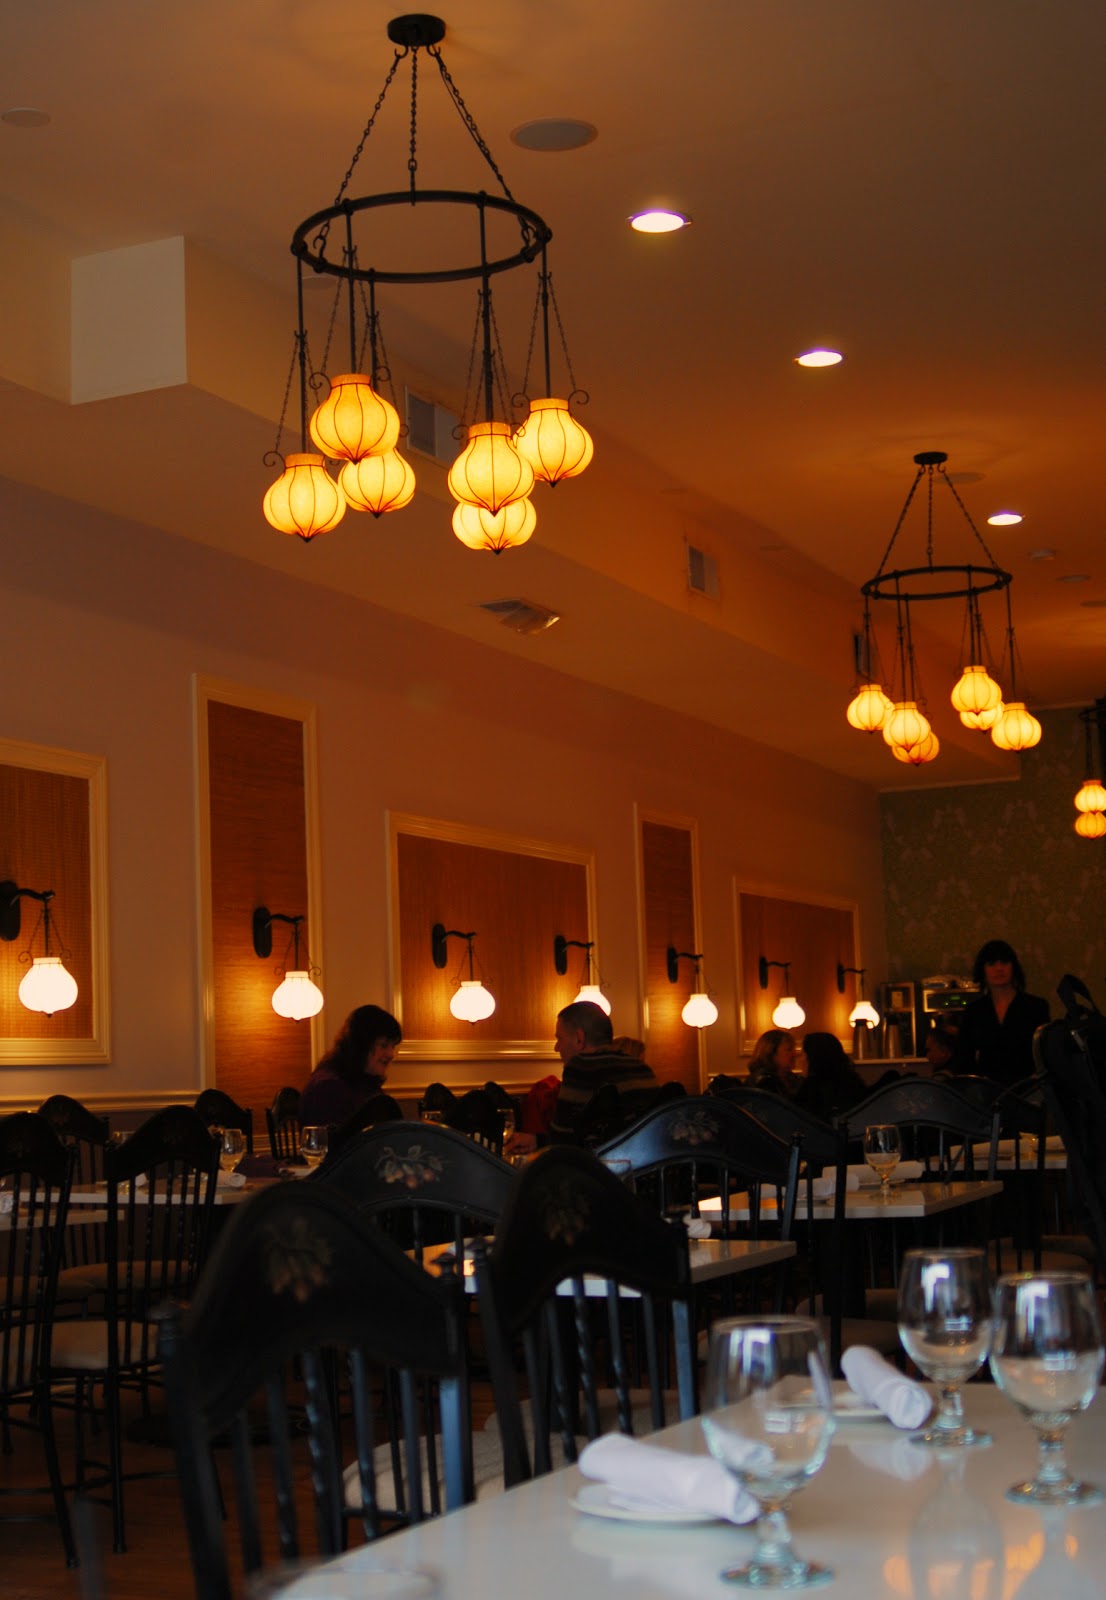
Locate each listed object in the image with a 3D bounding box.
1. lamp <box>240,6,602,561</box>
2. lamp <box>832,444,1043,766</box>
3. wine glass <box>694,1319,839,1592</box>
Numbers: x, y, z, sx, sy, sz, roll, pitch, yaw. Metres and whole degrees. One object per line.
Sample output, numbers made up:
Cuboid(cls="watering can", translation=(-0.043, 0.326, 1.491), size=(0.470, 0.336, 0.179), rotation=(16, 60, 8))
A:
Cuboid(cls="lamp", translation=(-0.593, -2.248, 6.015), size=(1.192, 1.841, 1.172), rotation=(-20, -24, 41))
Cuboid(cls="lamp", translation=(3.143, -1.671, 11.782), size=(1.328, 2.283, 1.414), rotation=(10, -19, -30))
Cuboid(cls="wine glass", translation=(0.134, 0.393, 0.869), size=(0.077, 0.158, 0.168), rotation=(-8, -11, 7))
